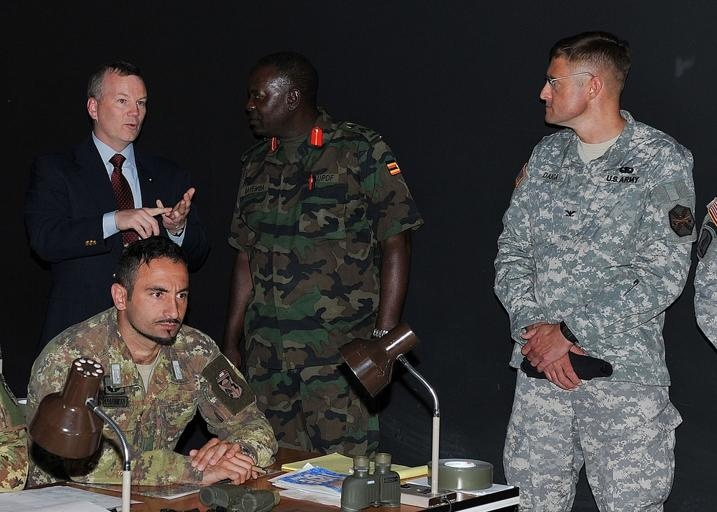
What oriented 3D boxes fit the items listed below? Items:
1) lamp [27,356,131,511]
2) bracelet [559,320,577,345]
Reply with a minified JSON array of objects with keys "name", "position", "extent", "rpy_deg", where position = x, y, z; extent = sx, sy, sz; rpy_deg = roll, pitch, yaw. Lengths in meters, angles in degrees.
[{"name":"lamp","position":[-0.788,0.510,2.026],"extent":[0.259,0.426,0.187],"rpy_deg":[0,2,-24]},{"name":"bracelet","position":[0.879,0.321,3.008],"extent":[0.088,0.033,0.087],"rpy_deg":[49,-6,39]}]
